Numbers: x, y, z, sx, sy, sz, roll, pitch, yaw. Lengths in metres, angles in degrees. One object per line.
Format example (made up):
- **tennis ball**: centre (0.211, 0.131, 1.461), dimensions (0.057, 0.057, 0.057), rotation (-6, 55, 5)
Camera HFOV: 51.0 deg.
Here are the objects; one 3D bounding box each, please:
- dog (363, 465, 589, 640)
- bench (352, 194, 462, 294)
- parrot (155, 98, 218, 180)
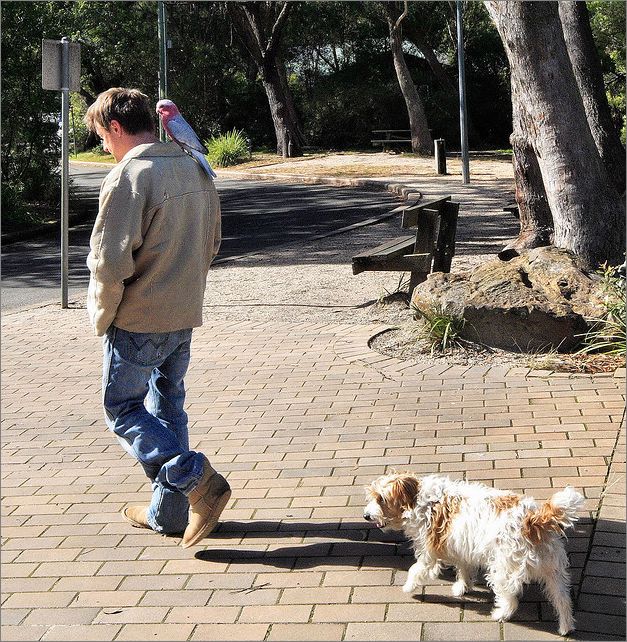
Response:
- **dog**: centre (0.522, 0.706, 2.159), dimensions (0.688, 0.445, 0.275), rotation (5, 16, 42)
- **bench**: centre (1.198, -0.916, 8.044), dimensions (0.987, 1.027, 1.735), rotation (0, 15, 22)
- **parrot**: centre (-0.537, -0.854, 2.996), dimensions (0.326, 0.435, 0.257), rotation (-18, 28, -42)
